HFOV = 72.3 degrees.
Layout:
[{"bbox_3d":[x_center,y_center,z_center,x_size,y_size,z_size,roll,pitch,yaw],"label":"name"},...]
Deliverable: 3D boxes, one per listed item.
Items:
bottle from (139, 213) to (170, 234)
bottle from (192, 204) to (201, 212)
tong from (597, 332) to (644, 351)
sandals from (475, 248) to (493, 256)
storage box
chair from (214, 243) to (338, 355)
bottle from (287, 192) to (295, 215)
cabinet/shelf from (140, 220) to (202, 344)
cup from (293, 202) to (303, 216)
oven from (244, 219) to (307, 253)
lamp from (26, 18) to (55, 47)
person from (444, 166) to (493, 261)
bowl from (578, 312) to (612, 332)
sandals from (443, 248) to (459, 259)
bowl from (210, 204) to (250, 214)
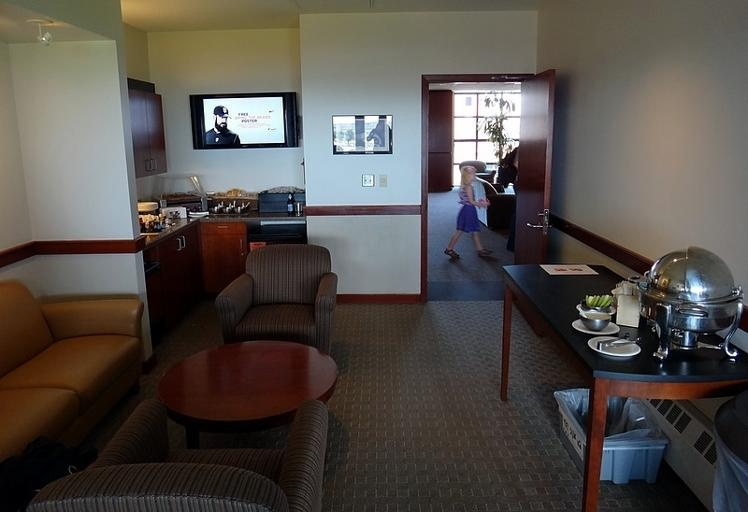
[{"bbox_3d":[-2.441,-0.364,5.665,0.245,0.111,0.345,2,14,-7],"label":"bottle"},{"bbox_3d":[-2.290,-0.635,6.569,0.036,0.091,0.114,12,21,41],"label":"bottle"},{"bbox_3d":[1.418,0.484,2.951,0.283,0.040,0.103,-3,12,-35],"label":"tong"},{"bbox_3d":[1.761,-0.090,8.177,0.256,0.125,0.093,-3,19,4],"label":"sandals"},{"bbox_3d":[1.659,1.236,3.660,0.558,0.337,0.769,-1,7,1],"label":"storage box"},{"bbox_3d":[-0.882,0.366,4.847,1.093,1.043,0.888,1,13,2],"label":"chair"},{"bbox_3d":[-1.071,-0.679,6.548,0.102,0.254,0.087,-2,16,-1],"label":"bottle"},{"bbox_3d":[-2.187,0.279,5.454,0.395,0.721,1.158,-1,19,-2],"label":"cabinet/shelf"},{"bbox_3d":[-0.955,-0.601,6.461,0.164,0.205,0.161,0,9,0],"label":"cup"},{"bbox_3d":[-1.222,-0.446,6.461,0.712,0.690,0.383,-1,10,0],"label":"oven"},{"bbox_3d":[-2.513,-1.691,3.909,0.186,0.204,0.195,-2,17,-20],"label":"lamp"},{"bbox_3d":[1.596,-0.859,8.721,0.710,1.428,1.925,1,16,10],"label":"person"},{"bbox_3d":[1.352,0.379,3.103,0.127,0.074,0.128,-3,19,1],"label":"bowl"},{"bbox_3d":[1.250,-0.075,8.160,0.232,0.147,0.322,0,16,7],"label":"sandals"},{"bbox_3d":[-1.921,-0.639,6.707,0.536,0.105,0.287,-1,15,2],"label":"bowl"}]
